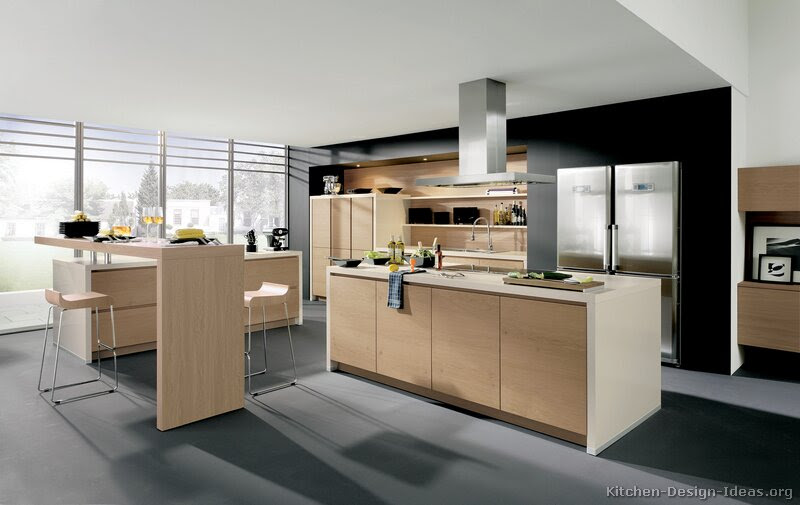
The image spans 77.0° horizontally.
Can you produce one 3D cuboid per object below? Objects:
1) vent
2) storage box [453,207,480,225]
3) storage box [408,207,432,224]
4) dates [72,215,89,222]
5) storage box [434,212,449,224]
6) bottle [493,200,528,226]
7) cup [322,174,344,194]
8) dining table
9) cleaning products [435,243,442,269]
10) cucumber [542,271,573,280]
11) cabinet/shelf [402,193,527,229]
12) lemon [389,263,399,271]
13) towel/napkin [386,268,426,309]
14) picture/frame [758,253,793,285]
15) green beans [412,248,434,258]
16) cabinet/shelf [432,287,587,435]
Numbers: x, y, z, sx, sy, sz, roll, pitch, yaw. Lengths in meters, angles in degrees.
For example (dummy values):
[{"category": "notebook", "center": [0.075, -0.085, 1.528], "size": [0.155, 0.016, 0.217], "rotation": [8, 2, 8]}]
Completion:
[{"category": "vent", "center": [1.008, -1.484, 6.276], "size": [0.934, 1.194, 1.654], "rotation": [-11, 14, -42]}, {"category": "storage box", "center": [1.117, -0.626, 8.605], "size": [0.555, 0.327, 0.298], "rotation": [0, 1, 43]}, {"category": "storage box", "center": [0.358, -0.673, 9.289], "size": [0.540, 0.321, 0.292], "rotation": [0, 0, 43]}, {"category": "dates", "center": [-3.812, -0.407, 6.018], "size": [0.131, 0.056, 0.131], "rotation": [2, 1, 38]}, {"category": "storage box", "center": [0.753, -0.617, 8.943], "size": [0.248, 0.187, 0.079], "rotation": [2, 2, 40]}, {"category": "bottle", "center": [1.777, -0.633, 8.195], "size": [0.600, 0.389, 0.182], "rotation": [3, 6, 36]}, {"category": "cup", "center": [-1.331, -1.340, 9.995], "size": [0.317, 0.387, 0.304], "rotation": [-1, 5, 0]}, {"category": "dining table", "center": [-3.057, 0.874, 6.441], "size": [1.097, 1.753, 3.542], "rotation": [-2, 0, -42]}, {"category": "cleaning products", "center": [0.468, 0.046, 5.977], "size": [0.093, 0.284, 0.263], "rotation": [0, 5, 4]}, {"category": "cucumber", "center": [1.579, 0.224, 4.896], "size": [0.384, 0.090, 0.106], "rotation": [2, 1, 11]}, {"category": "cabinet/shelf", "center": [1.058, -0.711, 8.644], "size": [2.651, 0.474, 0.336], "rotation": [-3, -3, -38]}, {"category": "lemon", "center": [-0.065, 0.170, 5.866], "size": [0.091, 0.045, 0.092], "rotation": [3, 4, 41]}, {"category": "towel/napkin", "center": [0.241, 0.447, 5.781], "size": [0.695, 0.371, 0.340], "rotation": [3, -3, -27]}, {"category": "picture/frame", "center": [4.774, 0.212, 6.376], "size": [0.425, 0.439, 0.036], "rotation": [2, -4, 41]}, {"category": "green beans", "center": [0.300, 0.004, 6.143], "size": [0.234, 0.098, 0.411], "rotation": [0, 4, 7]}, {"category": "cabinet/shelf", "center": [1.129, 1.066, 4.939], "size": [1.627, 1.185, 0.540], "rotation": [-1, 0, 37]}]
